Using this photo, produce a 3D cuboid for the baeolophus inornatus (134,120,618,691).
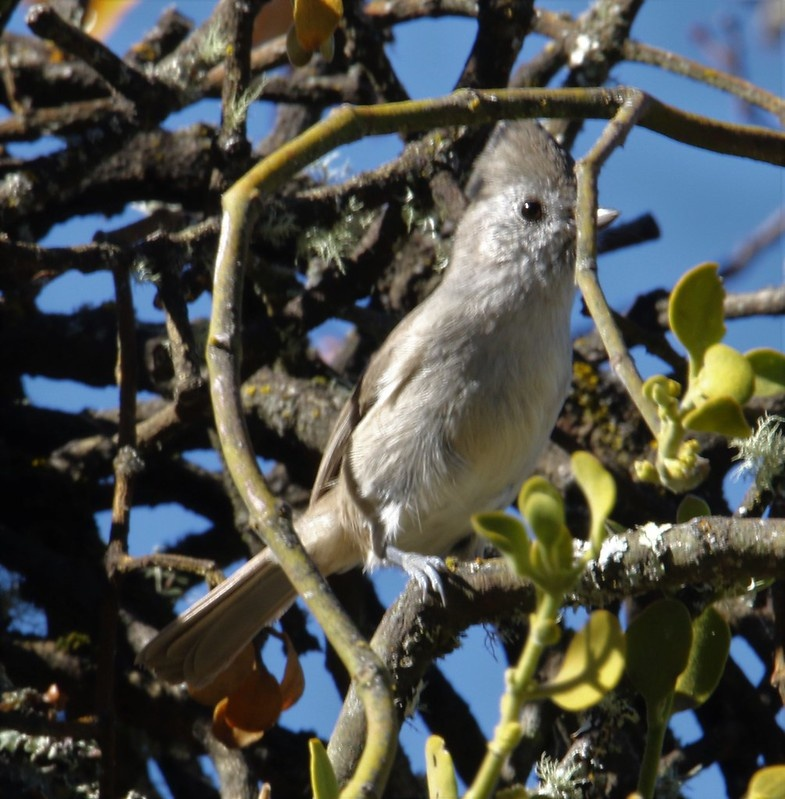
[{"bbox_3d":[0.119,-0.093,3.403,0.416,1.088,0.491,7,3,-40],"label":"baeolophus inornatus"}]
